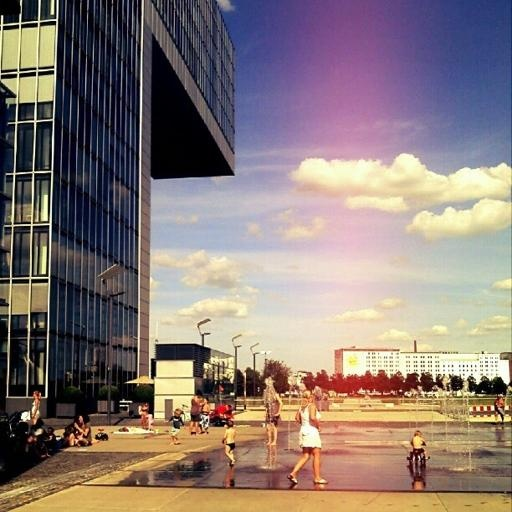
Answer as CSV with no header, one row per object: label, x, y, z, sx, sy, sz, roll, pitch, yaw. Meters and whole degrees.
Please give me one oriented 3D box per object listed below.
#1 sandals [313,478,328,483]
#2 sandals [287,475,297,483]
sandals,1.253,4.334,12.721,0.296,0.107,0.252,0,-16,-10
sandals,0.690,4.359,12.814,0.074,0.231,0.144,-42,-18,4
